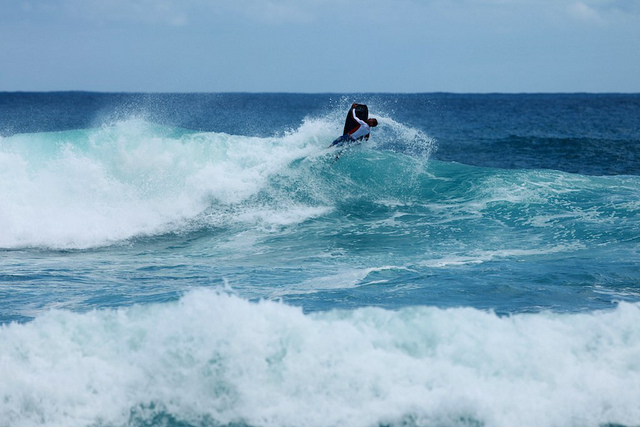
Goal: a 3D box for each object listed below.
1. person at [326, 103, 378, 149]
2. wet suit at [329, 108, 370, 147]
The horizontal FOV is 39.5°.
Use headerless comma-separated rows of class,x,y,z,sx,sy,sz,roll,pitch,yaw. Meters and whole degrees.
person,1.322,-3.219,31.944,1.418,1.482,0.601,8,14,12
wet suit,1.233,-3.127,31.996,0.451,1.411,1.154,-9,19,-44
